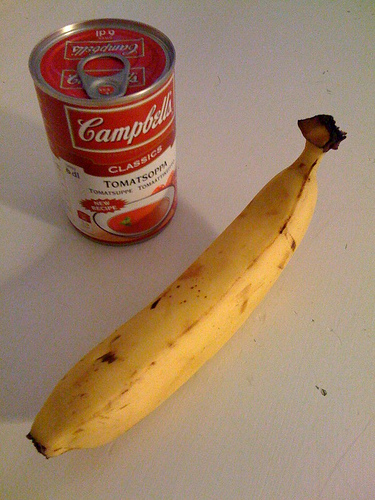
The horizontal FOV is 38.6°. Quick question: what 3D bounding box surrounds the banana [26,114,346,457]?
[{"bbox_3d":[0.023,0.043,0.727,0.124,0.180,0.571,40,75,21],"label":"banana"}]
